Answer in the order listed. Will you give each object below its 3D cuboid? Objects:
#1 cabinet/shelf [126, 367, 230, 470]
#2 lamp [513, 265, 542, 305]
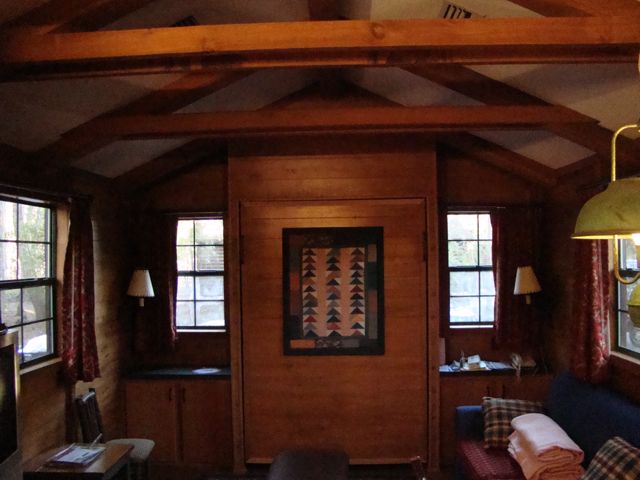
[{"bbox_3d":[-1.413,1.842,6.437,0.869,0.763,0.342,-1,-6,1],"label":"cabinet/shelf"},{"bbox_3d":[2.122,0.455,6.470,0.261,0.383,0.367,-3,-5,17],"label":"lamp"}]
